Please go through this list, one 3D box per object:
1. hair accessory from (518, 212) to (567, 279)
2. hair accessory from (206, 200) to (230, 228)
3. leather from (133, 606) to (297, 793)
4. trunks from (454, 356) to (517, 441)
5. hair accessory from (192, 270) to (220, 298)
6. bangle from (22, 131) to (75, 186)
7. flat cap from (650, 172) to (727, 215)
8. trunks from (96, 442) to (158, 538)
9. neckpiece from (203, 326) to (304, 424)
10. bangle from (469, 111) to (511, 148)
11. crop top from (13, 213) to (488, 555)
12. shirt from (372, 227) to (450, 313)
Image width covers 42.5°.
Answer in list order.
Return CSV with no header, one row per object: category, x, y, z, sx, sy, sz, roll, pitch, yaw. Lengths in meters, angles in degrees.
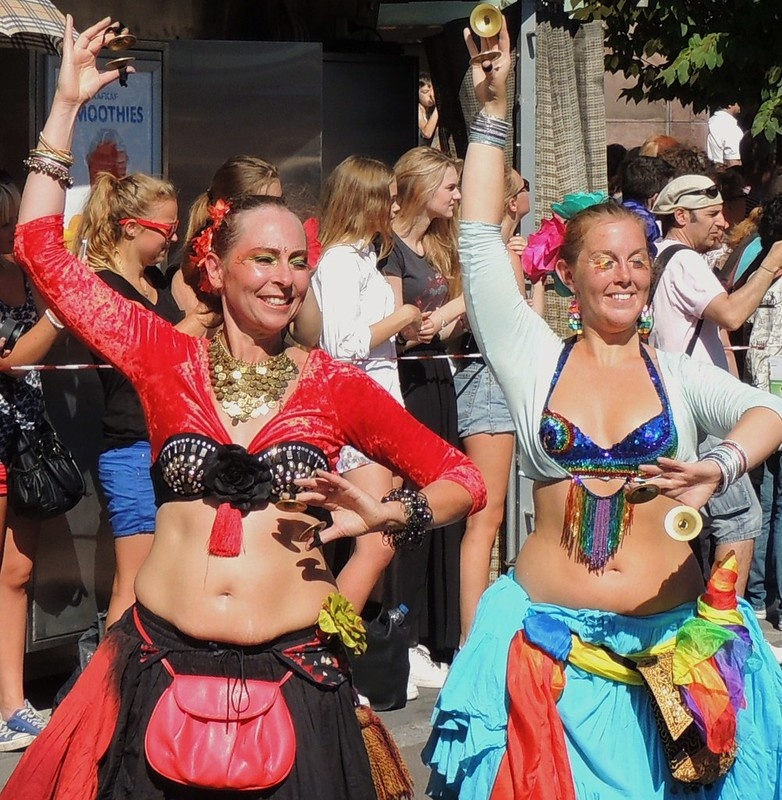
hair accessory,0.460,-0.469,2.996,0.070,0.167,0.157,23,-46,-17
hair accessory,-0.421,-0.435,2.396,0.020,0.071,0.072,21,-43,-38
leather,-0.350,0.668,2.078,0.295,0.227,0.138,0,5,-2
trunks,0.391,0.017,4.247,0.198,0.340,0.267,-6,-27,-28
hair accessory,-0.454,-0.282,2.455,0.037,0.061,0.048,-28,-21,-5
bangle,-0.755,-0.533,2.223,0.093,0.119,0.083,-1,6,-19
flat cap,1.411,-0.993,4.866,0.266,0.147,0.187,-1,8,17
trunks,-1.034,0.343,3.959,0.241,0.405,0.370,-10,-22,-16
neckpiece,-0.312,-0.097,2.263,0.192,0.054,0.270,-8,-18,-9
bangle,0.257,-0.708,2.643,0.097,0.072,0.096,7,5,22
crop top,-0.314,-0.040,2.204,1.011,0.721,0.310,1,5,6
shirt,0.129,-0.594,4.859,0.373,0.348,0.204,-11,11,-38
